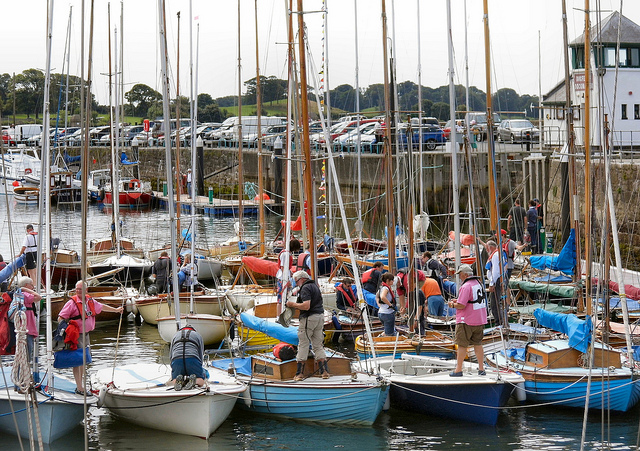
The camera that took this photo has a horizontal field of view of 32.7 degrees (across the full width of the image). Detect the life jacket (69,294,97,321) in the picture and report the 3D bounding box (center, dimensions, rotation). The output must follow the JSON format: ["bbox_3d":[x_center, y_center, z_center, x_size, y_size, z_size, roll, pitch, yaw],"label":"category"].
[{"bbox_3d":[-5.016,1.887,23.820,0.617,0.717,0.518,0,-2,-43],"label":"life jacket"}]

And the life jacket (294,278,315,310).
[{"bbox_3d":[-0.286,1.505,24.549,0.120,0.608,0.507,16,-11,-33],"label":"life jacket"}]

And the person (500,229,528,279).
[{"bbox_3d":[5.298,0.810,29.904,0.290,1.277,1.059,9,-5,5],"label":"person"}]

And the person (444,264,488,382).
[{"bbox_3d":[3.300,2.104,24.357,0.866,2.592,0.493,-2,0,-25],"label":"person"}]

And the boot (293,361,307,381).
[{"bbox_3d":[-0.435,3.262,24.629,0.228,0.423,0.292,-2,0,38],"label":"boot"}]

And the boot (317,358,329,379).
[{"bbox_3d":[0.092,3.215,24.693,0.230,0.447,0.149,-2,0,-18],"label":"boot"}]

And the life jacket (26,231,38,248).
[{"bbox_3d":[-7.902,0.360,30.352,0.273,0.401,0.307,1,-1,-7],"label":"life jacket"}]

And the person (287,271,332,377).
[{"bbox_3d":[-0.205,2.208,24.509,0.729,2.334,0.443,-2,0,-2],"label":"person"}]

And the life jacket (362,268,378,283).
[{"bbox_3d":[1.310,1.323,29.086,0.299,0.350,0.344,14,-14,2],"label":"life jacket"}]

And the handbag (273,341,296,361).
[{"bbox_3d":[-0.810,2.833,24.893,0.327,0.350,0.385,1,9,-23],"label":"handbag"}]

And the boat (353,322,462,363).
[{"bbox_3d":[1.928,2.801,25.985,1.704,0.849,1.110,2,4,37],"label":"boat"}]

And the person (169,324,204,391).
[{"bbox_3d":[-2.895,2.984,24.168,0.649,1.835,1.175,0,-26,-6],"label":"person"}]

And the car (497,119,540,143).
[{"bbox_3d":[8.897,-4.603,50.063,1.072,0.987,2.609,-1,3,-15],"label":"car"}]

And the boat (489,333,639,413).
[{"bbox_3d":[5.485,3.322,24.591,1.586,1.172,2.708,-3,2,-37],"label":"boat"}]

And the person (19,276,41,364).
[{"bbox_3d":[-6.365,2.047,24.234,0.417,1.773,1.136,-2,0,-22],"label":"person"}]

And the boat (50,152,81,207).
[{"bbox_3d":[-14.089,-2.597,59.297,1.349,3.199,4.981,-8,3,-25],"label":"boat"}]

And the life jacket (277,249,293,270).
[{"bbox_3d":[-0.863,0.915,29.255,0.465,0.615,0.414,2,-1,-4],"label":"life jacket"}]

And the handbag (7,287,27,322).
[{"bbox_3d":[-6.505,1.714,23.674,0.402,0.708,1.601,-2,-1,-16],"label":"handbag"}]

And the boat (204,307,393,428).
[{"bbox_3d":[-0.649,3.447,25.005,3.902,1.817,2.297,16,12,32],"label":"boat"}]

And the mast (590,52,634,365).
[{"bbox_3d":[7.712,-0.315,29.073,0.821,9.673,1.332,-5,4,2],"label":"mast"}]

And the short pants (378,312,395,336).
[{"bbox_3d":[1.672,2.386,27.062,0.474,0.881,0.453,-1,-2,-8],"label":"short pants"}]

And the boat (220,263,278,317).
[{"bbox_3d":[-2.116,1.801,31.259,0.848,1.568,3.126,-7,5,0],"label":"boat"}]

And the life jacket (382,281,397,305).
[{"bbox_3d":[1.714,1.663,27.047,0.314,0.562,0.251,5,15,32],"label":"life jacket"}]

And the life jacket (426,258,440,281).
[{"bbox_3d":[3.019,1.140,29.268,0.339,0.572,1.459,-2,0,5],"label":"life jacket"}]

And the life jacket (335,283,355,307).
[{"bbox_3d":[0.734,1.803,28.694,0.390,0.608,0.873,-2,-1,-24],"label":"life jacket"}]

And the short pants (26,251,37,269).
[{"bbox_3d":[-7.877,0.944,30.101,0.203,0.458,0.413,0,5,3],"label":"short pants"}]

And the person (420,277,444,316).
[{"bbox_3d":[2.823,1.796,27.446,0.355,0.976,0.864,-2,0,25],"label":"person"}]

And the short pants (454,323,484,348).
[{"bbox_3d":[3.293,2.430,24.460,0.621,0.790,0.427,3,3,-10],"label":"short pants"}]

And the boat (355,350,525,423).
[{"bbox_3d":[2.748,3.584,24.348,2.506,1.358,1.776,8,9,40],"label":"boat"}]
